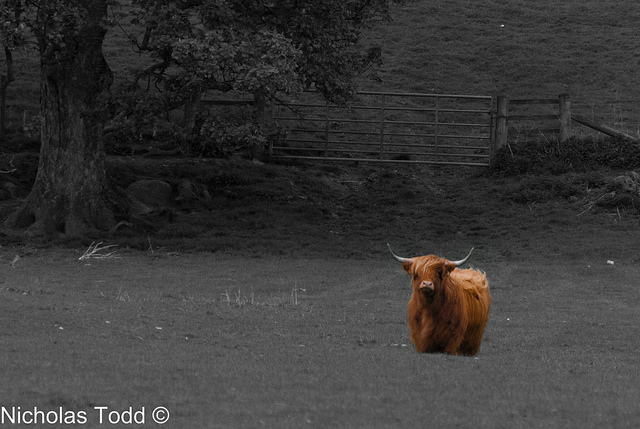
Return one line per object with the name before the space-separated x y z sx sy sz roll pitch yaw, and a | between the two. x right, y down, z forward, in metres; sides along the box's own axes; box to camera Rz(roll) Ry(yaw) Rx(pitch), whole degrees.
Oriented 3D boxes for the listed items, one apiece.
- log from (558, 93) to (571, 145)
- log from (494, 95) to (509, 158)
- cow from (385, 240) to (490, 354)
log | 6.976 -2.681 24.194 0.406 1.347 0.784 4 14 15
log | 5.285 -2.525 24.652 0.360 1.685 0.615 3 13 12
cow | 2.078 1.437 13.360 1.093 1.468 2.706 -2 -12 29
